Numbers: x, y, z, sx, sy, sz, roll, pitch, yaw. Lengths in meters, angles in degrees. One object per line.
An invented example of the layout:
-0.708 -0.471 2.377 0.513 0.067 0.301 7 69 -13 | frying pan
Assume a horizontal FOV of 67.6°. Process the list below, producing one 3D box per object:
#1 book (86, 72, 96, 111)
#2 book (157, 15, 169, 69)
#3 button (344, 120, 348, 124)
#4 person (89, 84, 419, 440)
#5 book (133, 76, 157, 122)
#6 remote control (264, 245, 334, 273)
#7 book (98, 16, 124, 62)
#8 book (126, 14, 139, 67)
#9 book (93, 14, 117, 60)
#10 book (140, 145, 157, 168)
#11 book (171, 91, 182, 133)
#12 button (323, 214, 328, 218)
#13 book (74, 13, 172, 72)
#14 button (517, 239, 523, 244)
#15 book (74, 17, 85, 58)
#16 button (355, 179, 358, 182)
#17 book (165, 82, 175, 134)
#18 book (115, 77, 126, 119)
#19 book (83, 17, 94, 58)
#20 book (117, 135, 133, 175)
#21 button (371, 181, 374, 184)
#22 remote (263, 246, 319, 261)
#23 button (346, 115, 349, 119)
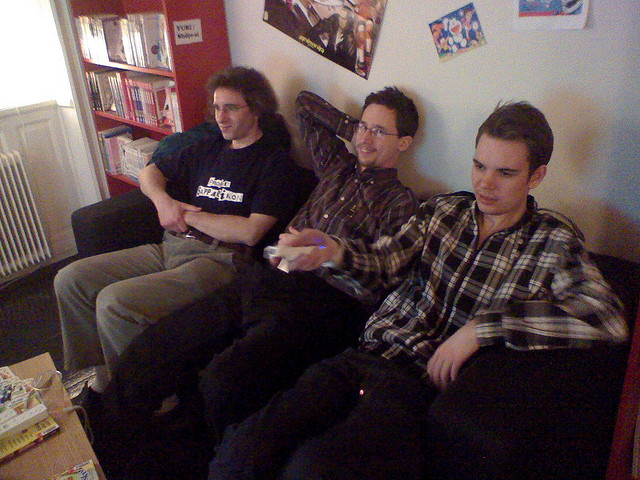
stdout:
-1.512 -0.985 3.165 0.036 0.147 0.149 -6 17 -19 | book
-0.872 -1.117 2.668 0.027 0.255 0.196 -14 27 -20 | book
0.125 -0.576 2.335 0.016 0.017 0.009 4 21 12 | button
-0.262 0.111 2.081 0.729 1.581 1.332 39 34 26 | person
-1.075 -0.850 2.941 0.037 0.154 0.158 10 24 42 | book
-0.075 0.058 1.629 0.230 0.089 0.065 -7 10 -7 | remote control
-1.268 -1.224 2.917 0.121 0.259 0.114 -9 22 -21 | book
-1.085 -1.146 2.778 0.055 0.232 0.230 -4 -17 -11 | book
-1.376 -1.251 2.959 0.220 0.229 0.062 8 21 38 | book
-1.064 -0.527 3.013 0.113 0.117 0.111 -17 26 -36 | book
-0.838 -0.740 2.801 0.049 0.195 0.199 -2 11 -12 | book
0.025 -0.110 2.209 0.011 0.012 0.027 -11 23 -25 | button
-1.195 -1.240 2.954 0.686 0.224 0.216 14 32 29 | book
0.703 0.005 1.689 0.014 0.013 0.003 18 -3 23 | button
-1.527 -1.291 3.050 0.048 0.232 0.019 14 25 35 | book
0.166 -0.276 2.233 0.008 0.012 0.017 -12 23 -26 | button
-0.894 -0.788 2.861 0.056 0.231 0.228 -2 12 -14 | book
-1.283 -0.915 3.076 0.045 0.185 0.181 -9 27 -18 | book
-1.451 -1.267 3.010 0.029 0.215 0.031 -9 18 -1 | book
-1.299 -0.564 3.222 0.099 0.248 0.194 -13 23 -28 | book
0.238 -0.264 2.206 0.012 0.012 0.004 0 -9 -1 | button
-0.108 0.034 1.619 0.156 0.045 0.061 -6 33 3 | remote
0.133 -0.603 2.349 0.020 0.006 0.019 -38 40 -29 | button
